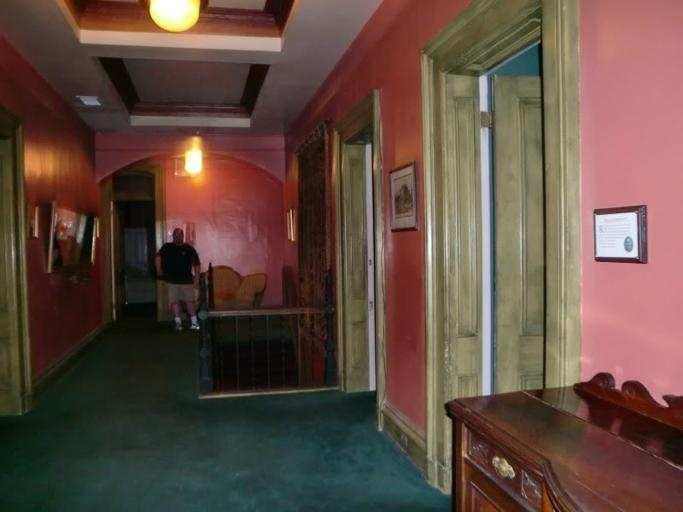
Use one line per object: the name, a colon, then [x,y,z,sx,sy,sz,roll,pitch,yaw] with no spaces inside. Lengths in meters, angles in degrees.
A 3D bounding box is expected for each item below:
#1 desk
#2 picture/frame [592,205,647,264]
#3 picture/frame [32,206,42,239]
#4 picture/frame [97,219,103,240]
desk: [-0.985,1.250,6.864,1.187,0.866,1.308,-1,4,-5]
picture/frame: [1.223,-0.092,2.293,0.036,0.280,0.237,0,0,-27]
picture/frame: [-3.198,-0.350,5.509,0.055,0.248,0.232,4,-34,-29]
picture/frame: [-4.027,-0.437,8.743,0.024,0.242,0.252,-6,38,-27]
